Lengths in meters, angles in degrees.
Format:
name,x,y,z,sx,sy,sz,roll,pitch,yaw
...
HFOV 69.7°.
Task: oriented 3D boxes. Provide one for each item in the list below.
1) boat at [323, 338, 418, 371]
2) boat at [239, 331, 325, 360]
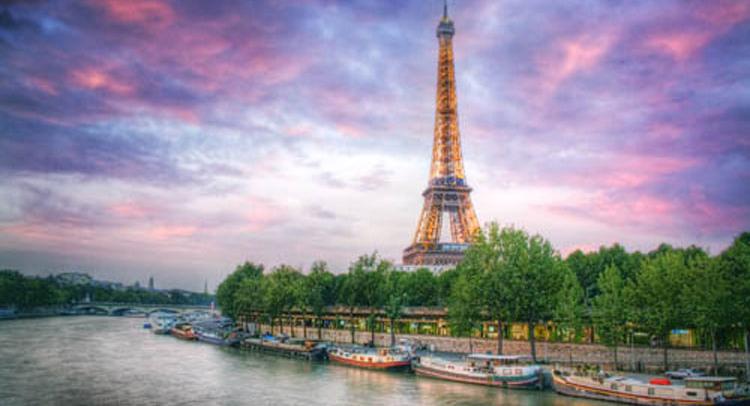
name,x,y,z,sx,sy,sz,roll,pitch,yaw
boat,-0.539,31.916,110.872,18.512,5.114,4.823,-6,-23,33
boat,-20.823,33.697,126.066,21.337,3.832,7.804,-2,-7,41
